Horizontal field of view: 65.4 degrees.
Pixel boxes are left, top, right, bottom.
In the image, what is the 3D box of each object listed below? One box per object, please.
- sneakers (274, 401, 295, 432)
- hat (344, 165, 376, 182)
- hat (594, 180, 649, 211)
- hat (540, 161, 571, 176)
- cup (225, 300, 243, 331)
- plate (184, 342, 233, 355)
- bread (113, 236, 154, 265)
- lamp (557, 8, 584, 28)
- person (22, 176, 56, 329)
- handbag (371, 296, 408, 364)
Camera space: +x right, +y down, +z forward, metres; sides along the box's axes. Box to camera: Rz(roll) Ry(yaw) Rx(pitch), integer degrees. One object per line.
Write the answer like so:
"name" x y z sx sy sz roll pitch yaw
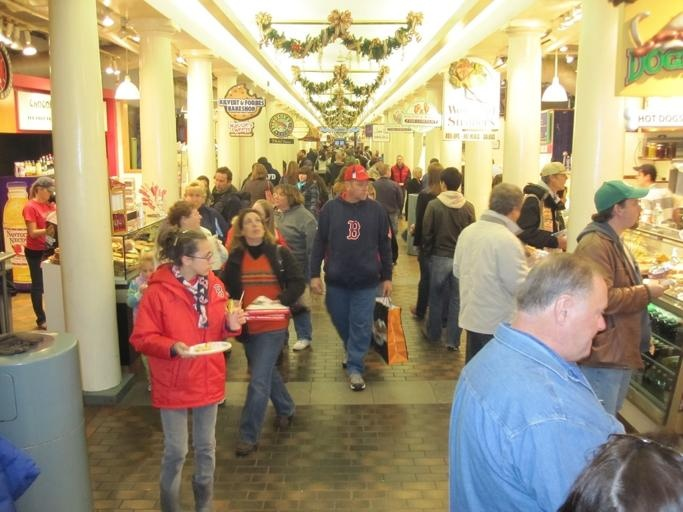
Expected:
"sneakers" -0.542 1.472 4.919 0.106 0.120 0.281 -4 52 11
"hat" 0.156 -0.868 5.525 0.256 0.168 0.647 0 11 -1
"hat" 1.905 -0.451 3.697 0.322 0.174 0.205 -23 12 19
"hat" 2.342 -0.991 5.826 0.229 0.114 0.172 -13 17 -5
"cup" -0.701 0.401 3.565 0.122 0.189 0.192 2 -3 -17
"plate" -0.815 0.550 3.252 0.234 0.050 0.262 -2 11 -9
"bread" -2.385 -0.071 6.001 0.126 0.468 0.549 -1 -1 38
"lamp" 3.738 -3.888 8.717 0.312 0.263 1.193 4 12 21
"person" -4.395 -0.036 7.772 0.478 2.170 0.953 -7 13 -28
"handbag" 0.486 0.773 5.541 0.256 0.678 0.414 -5 12 -22
